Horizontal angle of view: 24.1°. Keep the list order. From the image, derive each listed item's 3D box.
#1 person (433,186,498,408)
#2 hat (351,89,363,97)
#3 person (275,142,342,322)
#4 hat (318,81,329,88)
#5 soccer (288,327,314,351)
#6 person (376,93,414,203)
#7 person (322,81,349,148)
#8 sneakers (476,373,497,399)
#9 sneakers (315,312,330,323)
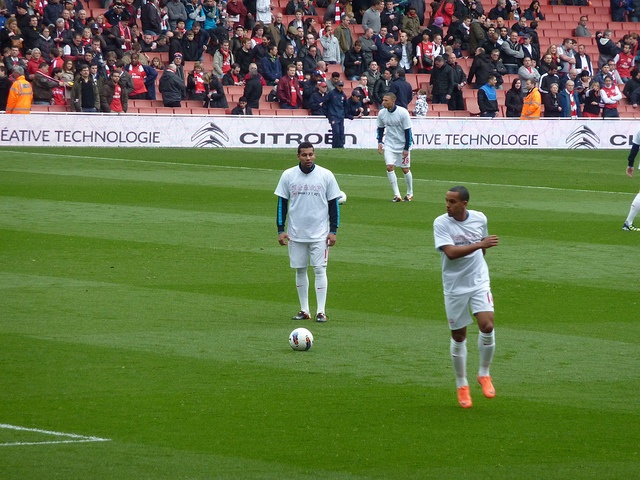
[{"bbox_3d":[2.296,0.858,23.142,0.916,3.311,1.022,-4,9,-22],"label":"person"},{"bbox_3d":[1.126,-4.458,45.807,0.441,0.277,0.187,-9,11,-44],"label":"hat"},{"bbox_3d":[-0.229,-0.119,25.702,0.922,3.041,0.906,-7,11,-39],"label":"person"},{"bbox_3d":[0.062,-4.668,45.523,0.247,0.107,0.336,2,9,-9],"label":"hat"},{"bbox_3d":[-0.331,1.641,24.479,0.372,0.354,0.217,-1,8,-2],"label":"soccer"},{"bbox_3d":[1.748,-2.142,34.915,0.829,2.496,1.227,0,8,2],"label":"person"},{"bbox_3d":[0.460,-3.685,44.699,0.794,2.000,0.631,-5,10,-29],"label":"person"},{"bbox_3d":[2.610,2.262,23.101,0.170,0.174,0.439,-9,50,-27],"label":"sneakers"},{"bbox_3d":[0.022,1.345,25.701,0.165,0.173,0.405,0,-4,-1],"label":"sneakers"}]
